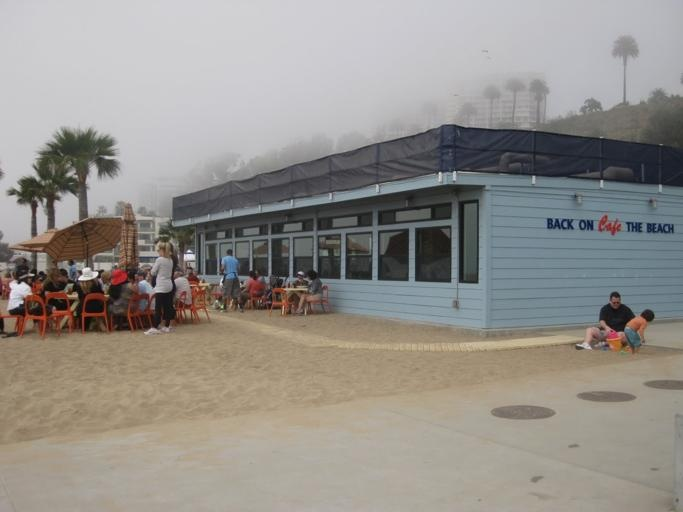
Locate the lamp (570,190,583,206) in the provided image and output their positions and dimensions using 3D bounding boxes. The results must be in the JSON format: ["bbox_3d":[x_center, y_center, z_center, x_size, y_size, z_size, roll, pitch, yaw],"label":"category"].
[{"bbox_3d":[6.401,-1.529,16.498,0.428,0.398,0.139,-3,5,-37],"label":"lamp"}]

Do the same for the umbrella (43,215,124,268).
[{"bbox_3d":[-7.946,-0.521,19.072,2.198,1.329,1.640,-3,4,-34],"label":"umbrella"}]

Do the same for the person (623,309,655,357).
[{"bbox_3d":[6.228,1.621,12.819,0.561,1.051,0.351,-3,16,0],"label":"person"}]

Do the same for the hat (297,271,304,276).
[{"bbox_3d":[-1.386,0.616,21.301,0.205,0.186,0.162,-7,6,-35],"label":"hat"}]

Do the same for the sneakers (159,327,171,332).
[{"bbox_3d":[-4.468,1.874,15.548,0.315,0.152,0.112,-1,0,33],"label":"sneakers"}]

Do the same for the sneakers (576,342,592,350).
[{"bbox_3d":[5.168,1.943,13.079,0.128,0.161,0.339,-2,2,-20],"label":"sneakers"}]

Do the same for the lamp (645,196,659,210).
[{"bbox_3d":[9.101,-1.549,17.878,0.437,0.332,0.115,-3,4,-34],"label":"lamp"}]

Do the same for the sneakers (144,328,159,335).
[{"bbox_3d":[-4.688,1.875,15.149,0.335,0.173,0.150,4,-7,-11],"label":"sneakers"}]

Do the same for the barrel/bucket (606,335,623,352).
[{"bbox_3d":[5.713,1.853,12.819,0.253,0.302,0.298,-1,-19,3],"label":"barrel/bucket"}]

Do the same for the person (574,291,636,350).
[{"bbox_3d":[5.671,1.436,13.130,1.482,1.221,1.034,-3,7,-19],"label":"person"}]
